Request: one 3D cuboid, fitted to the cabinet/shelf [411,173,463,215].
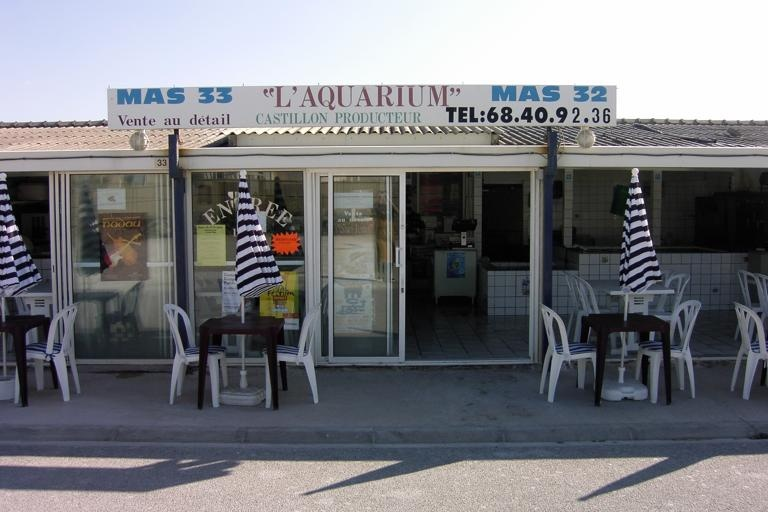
[{"bbox_3d":[1.114,-1.395,17.623,1.669,1.342,0.559,-4,6,-39],"label":"cabinet/shelf"}]

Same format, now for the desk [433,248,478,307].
[{"bbox_3d":[1.514,0.459,15.541,1.070,1.239,1.377,0,1,1],"label":"desk"}]

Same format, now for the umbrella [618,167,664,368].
[{"bbox_3d":[3.297,-0.321,9.109,0.478,1.596,0.351,-1,5,18],"label":"umbrella"}]

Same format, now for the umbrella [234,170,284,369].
[{"bbox_3d":[-1.674,-0.276,9.131,0.556,1.637,0.244,-4,5,-19],"label":"umbrella"}]
